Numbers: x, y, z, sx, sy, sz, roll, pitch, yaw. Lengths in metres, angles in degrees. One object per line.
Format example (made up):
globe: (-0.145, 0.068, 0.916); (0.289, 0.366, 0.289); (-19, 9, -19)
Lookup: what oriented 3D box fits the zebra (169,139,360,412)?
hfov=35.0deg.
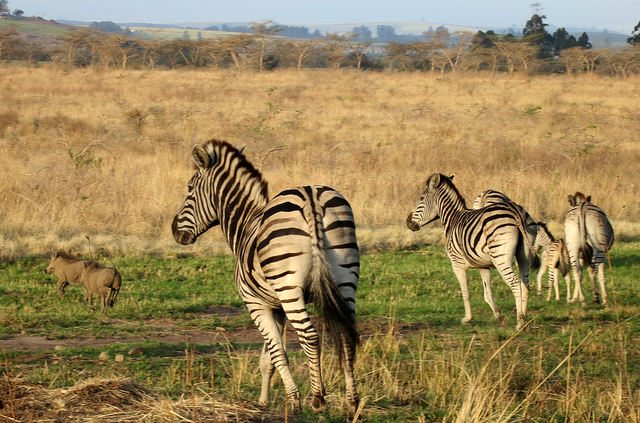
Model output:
zebra: (-1.101, 1.558, 25.161); (3.790, 5.949, 1.276); (-3, 1, 29)
